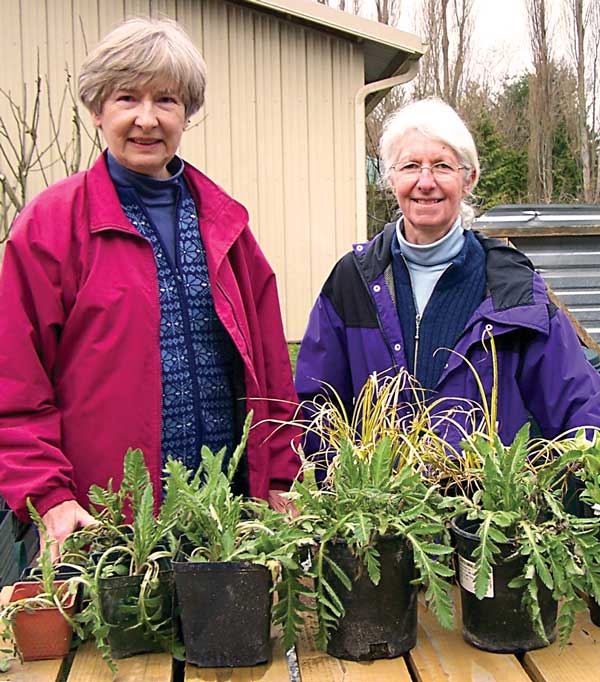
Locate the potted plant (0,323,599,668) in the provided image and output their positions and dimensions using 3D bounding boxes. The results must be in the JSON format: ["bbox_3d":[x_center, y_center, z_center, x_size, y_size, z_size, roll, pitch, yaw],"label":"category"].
[{"bbox_3d":[0.045,0.184,1.238,0.738,0.243,0.538,-2,4,-5],"label":"potted plant"}]
